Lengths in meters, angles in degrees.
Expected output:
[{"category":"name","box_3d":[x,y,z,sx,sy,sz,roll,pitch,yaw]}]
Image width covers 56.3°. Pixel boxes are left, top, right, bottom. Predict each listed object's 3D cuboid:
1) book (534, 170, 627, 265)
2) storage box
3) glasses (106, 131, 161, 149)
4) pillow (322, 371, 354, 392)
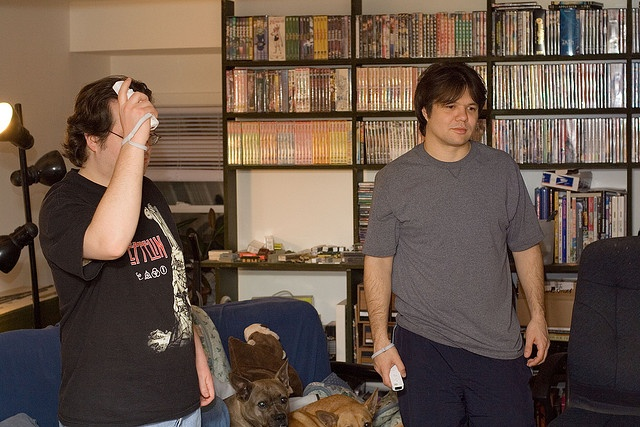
[{"category":"book","box_3d":[1.764,0.045,4.082,0.638,0.641,0.237,0,0,7]},{"category":"storage box","box_3d":[1.598,0.624,4.326,0.575,0.441,0.326,-1,-2,7]},{"category":"glasses","box_3d":[-0.698,-0.281,2.248,0.146,0.047,0.117,5,5,2]},{"category":"pillow","box_3d":[0.098,0.947,3.359,0.111,0.037,0.112,24,-11,2]}]
